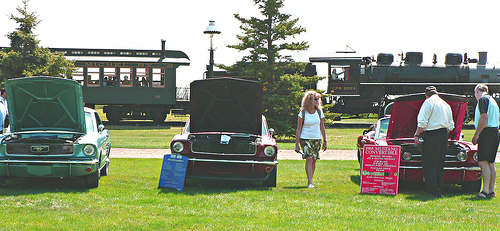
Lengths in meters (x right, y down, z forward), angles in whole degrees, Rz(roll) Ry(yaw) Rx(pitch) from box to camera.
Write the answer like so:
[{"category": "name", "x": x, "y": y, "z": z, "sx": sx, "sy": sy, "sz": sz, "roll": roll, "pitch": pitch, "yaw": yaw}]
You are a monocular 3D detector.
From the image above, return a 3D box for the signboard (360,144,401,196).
[{"category": "signboard", "x": 5.924, "y": 2.510, "z": 33.054, "sx": 2.700, "sy": 2.762, "sz": 0.167, "roll": 4, "pitch": -6, "yaw": 2}]
